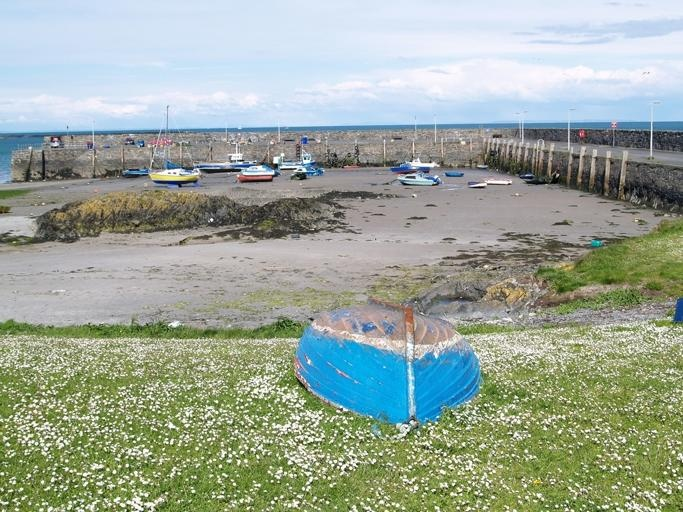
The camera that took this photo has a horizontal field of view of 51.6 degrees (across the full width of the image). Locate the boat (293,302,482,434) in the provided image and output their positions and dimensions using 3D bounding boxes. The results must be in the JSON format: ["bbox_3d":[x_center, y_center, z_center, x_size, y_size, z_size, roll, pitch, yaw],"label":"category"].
[{"bbox_3d":[0.835,2.215,13.961,2.252,1.223,3.040,-1,12,-17],"label":"boat"}]
